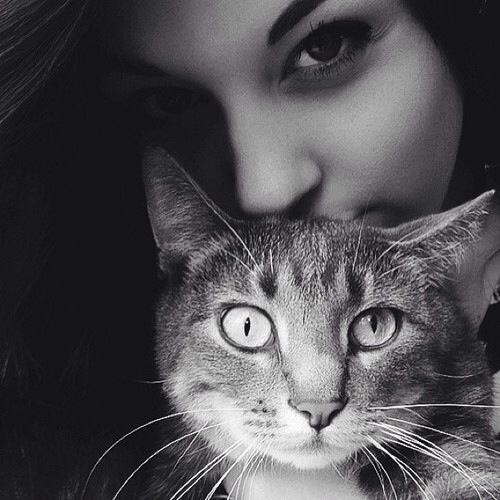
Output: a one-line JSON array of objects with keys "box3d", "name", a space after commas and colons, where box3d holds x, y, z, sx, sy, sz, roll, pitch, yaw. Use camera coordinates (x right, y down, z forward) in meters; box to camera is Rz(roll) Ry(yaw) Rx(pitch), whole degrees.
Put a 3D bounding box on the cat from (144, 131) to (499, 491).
[{"box3d": [0.106, 0.089, 1.218, 0.372, 0.536, 0.411, -3, 92, -1], "name": "cat"}]
